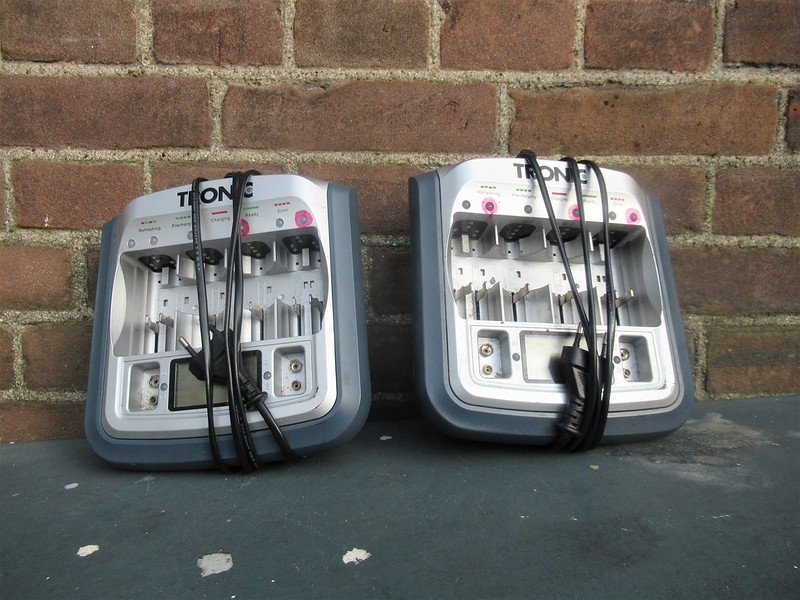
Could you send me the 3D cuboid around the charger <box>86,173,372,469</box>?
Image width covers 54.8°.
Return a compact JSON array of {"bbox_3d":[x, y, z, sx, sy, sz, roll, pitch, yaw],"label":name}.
[{"bbox_3d":[-0.239,0.040,1.089,0.377,0.430,0.113,-3,-17,-2],"label":"charger"}]
